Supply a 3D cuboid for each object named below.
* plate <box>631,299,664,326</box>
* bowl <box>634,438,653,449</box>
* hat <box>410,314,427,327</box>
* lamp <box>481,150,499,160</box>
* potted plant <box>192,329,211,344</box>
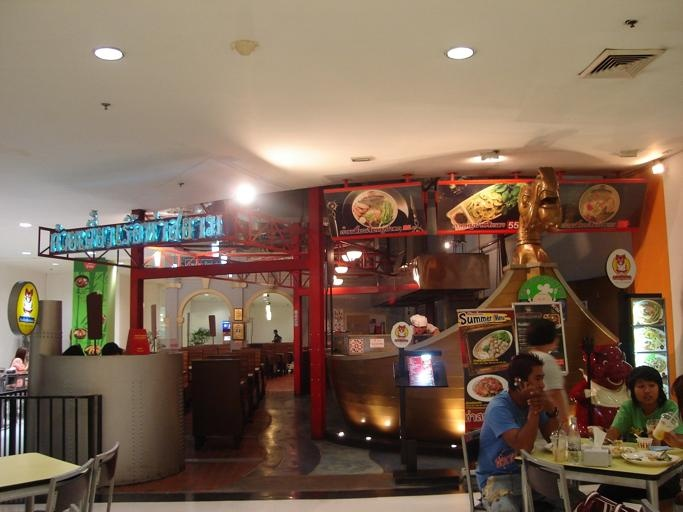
[{"bbox_3d":[4.265,0.766,7.265,0.433,0.367,0.157,2,-8,-23],"label":"plate"},{"bbox_3d":[2.370,1.447,4.113,0.113,0.062,0.109,-1,-12,0],"label":"bowl"},{"bbox_3d":[1.231,1.015,8.399,0.257,0.106,0.301,0,-4,1],"label":"hat"},{"bbox_3d":[2.113,-1.440,7.461,0.259,0.058,0.314,-3,-6,15],"label":"lamp"},{"bbox_3d":[-6.863,3.872,25.421,0.790,0.791,0.820,-9,-4,0],"label":"potted plant"}]
